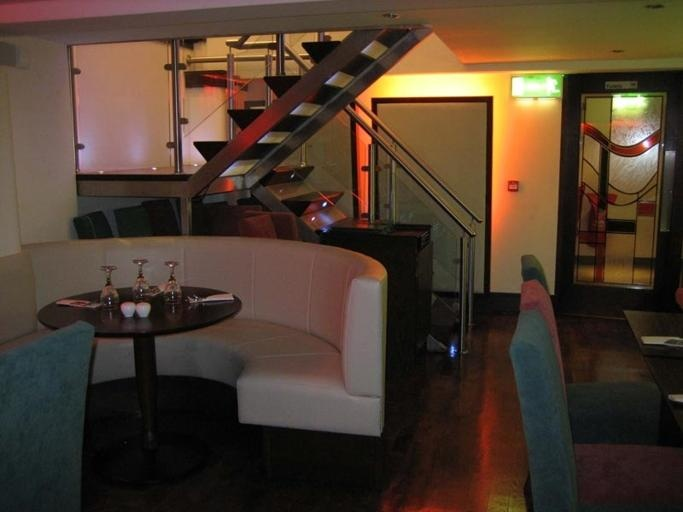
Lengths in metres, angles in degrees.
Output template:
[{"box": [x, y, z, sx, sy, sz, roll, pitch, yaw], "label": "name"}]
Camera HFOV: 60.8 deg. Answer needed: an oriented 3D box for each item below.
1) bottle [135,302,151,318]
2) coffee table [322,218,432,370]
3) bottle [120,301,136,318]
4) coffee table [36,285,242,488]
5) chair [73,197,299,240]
[{"box": [-1.168, 0.323, 3.429, 0.083, 0.082, 0.085, -2, 2, -18], "label": "bottle"}, {"box": [0.473, 0.252, 5.700, 1.088, 1.651, 1.157, 1, 12, 9], "label": "coffee table"}, {"box": [-1.272, 0.324, 3.487, 0.083, 0.085, 0.086, 0, 6, -10], "label": "bottle"}, {"box": [-1.197, 0.794, 3.600, 0.854, 0.678, 0.819, -3, -8, -24], "label": "coffee table"}, {"box": [-1.500, -0.358, 5.753, 2.179, 0.396, 0.690, 3, 11, 8], "label": "chair"}]
